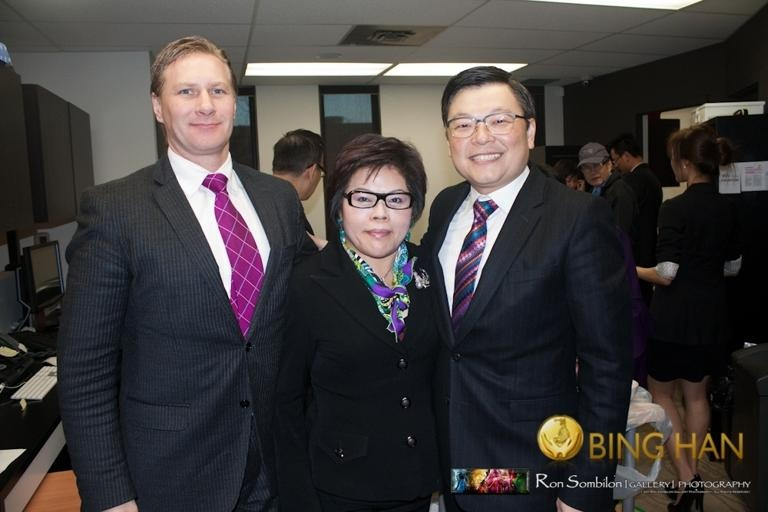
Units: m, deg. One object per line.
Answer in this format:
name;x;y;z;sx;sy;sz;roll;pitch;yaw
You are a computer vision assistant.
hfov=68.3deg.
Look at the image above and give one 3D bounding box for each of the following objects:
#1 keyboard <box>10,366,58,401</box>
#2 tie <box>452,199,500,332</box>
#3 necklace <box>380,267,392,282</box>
keyboard;-2.054;0.754;3.306;0.190;0.020;0.416;3;18;-5
tie;0.363;-0.001;2.372;0.111;0.638;0.070;17;-17;8
necklace;0.010;0.087;2.458;0.013;0.053;0.053;3;30;-17
